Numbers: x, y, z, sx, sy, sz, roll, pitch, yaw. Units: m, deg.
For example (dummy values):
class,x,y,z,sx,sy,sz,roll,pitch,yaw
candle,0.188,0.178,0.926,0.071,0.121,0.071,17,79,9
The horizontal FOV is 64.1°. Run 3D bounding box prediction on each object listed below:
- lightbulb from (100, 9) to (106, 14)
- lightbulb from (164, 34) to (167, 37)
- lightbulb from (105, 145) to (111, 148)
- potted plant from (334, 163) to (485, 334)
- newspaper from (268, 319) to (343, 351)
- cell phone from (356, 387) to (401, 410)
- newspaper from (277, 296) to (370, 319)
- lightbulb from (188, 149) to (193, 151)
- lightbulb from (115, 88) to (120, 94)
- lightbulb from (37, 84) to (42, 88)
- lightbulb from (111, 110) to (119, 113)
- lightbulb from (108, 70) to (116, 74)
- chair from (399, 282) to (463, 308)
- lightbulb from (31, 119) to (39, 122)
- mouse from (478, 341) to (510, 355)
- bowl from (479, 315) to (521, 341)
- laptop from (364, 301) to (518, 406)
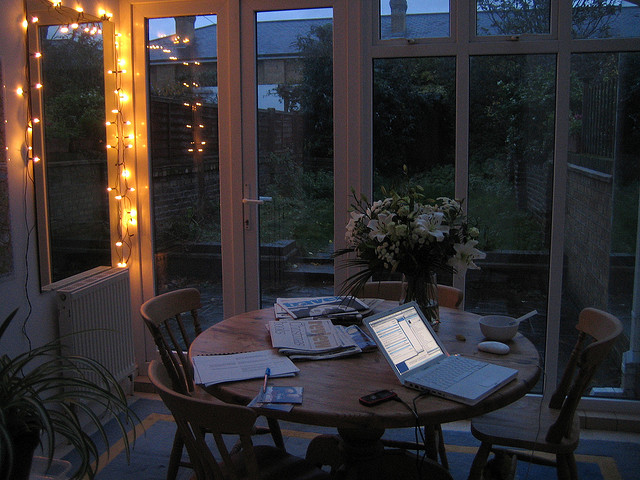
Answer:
class,x,y,z,sx,sy,sz,roll,pitch,yaw
lightbulb,-1.536,-1.628,3.619,0.016,0.034,0.058,0,15,7
lightbulb,-1.147,-1.529,3.791,0.012,0.025,0.013,1,6,25
lightbulb,-1.554,-0.691,3.744,0.036,0.029,0.027,-5,5,-32
potted plant,0.456,0.020,2.433,0.508,0.671,0.539,1,-4,0
newspaper,-0.068,0.412,2.356,0.321,0.076,0.390,2,9,-21
cell phone,0.223,0.576,1.867,0.120,0.021,0.056,-13,11,-42
newspaper,0.019,0.360,2.663,0.223,0.136,0.090,-3,5,-37
lightbulb,-0.969,-0.679,3.834,0.015,0.011,0.004,4,16,4
lightbulb,-1.505,-1.115,3.789,0.031,0.048,0.016,0,-9,24
lightbulb,-1.699,-0.939,3.095,0.024,0.009,0.034,-7,9,-36
lightbulb,-1.514,-0.958,3.783,0.016,0.023,0.074,27,27,17
lightbulb,-1.527,-1.242,3.751,0.009,0.027,0.064,4,16,24
chair,0.558,0.288,2.597,0.201,0.163,0.209,1,-1,0
lightbulb,-1.710,-0.722,3.062,0.034,0.011,0.027,4,7,39
mouse,0.762,0.463,2.222,0.100,0.036,0.055,1,7,40
bowl,0.816,0.391,2.358,0.124,0.066,0.129,-3,2,0
laptop,0.478,0.439,2.046,0.522,0.242,0.423,1,6,40
